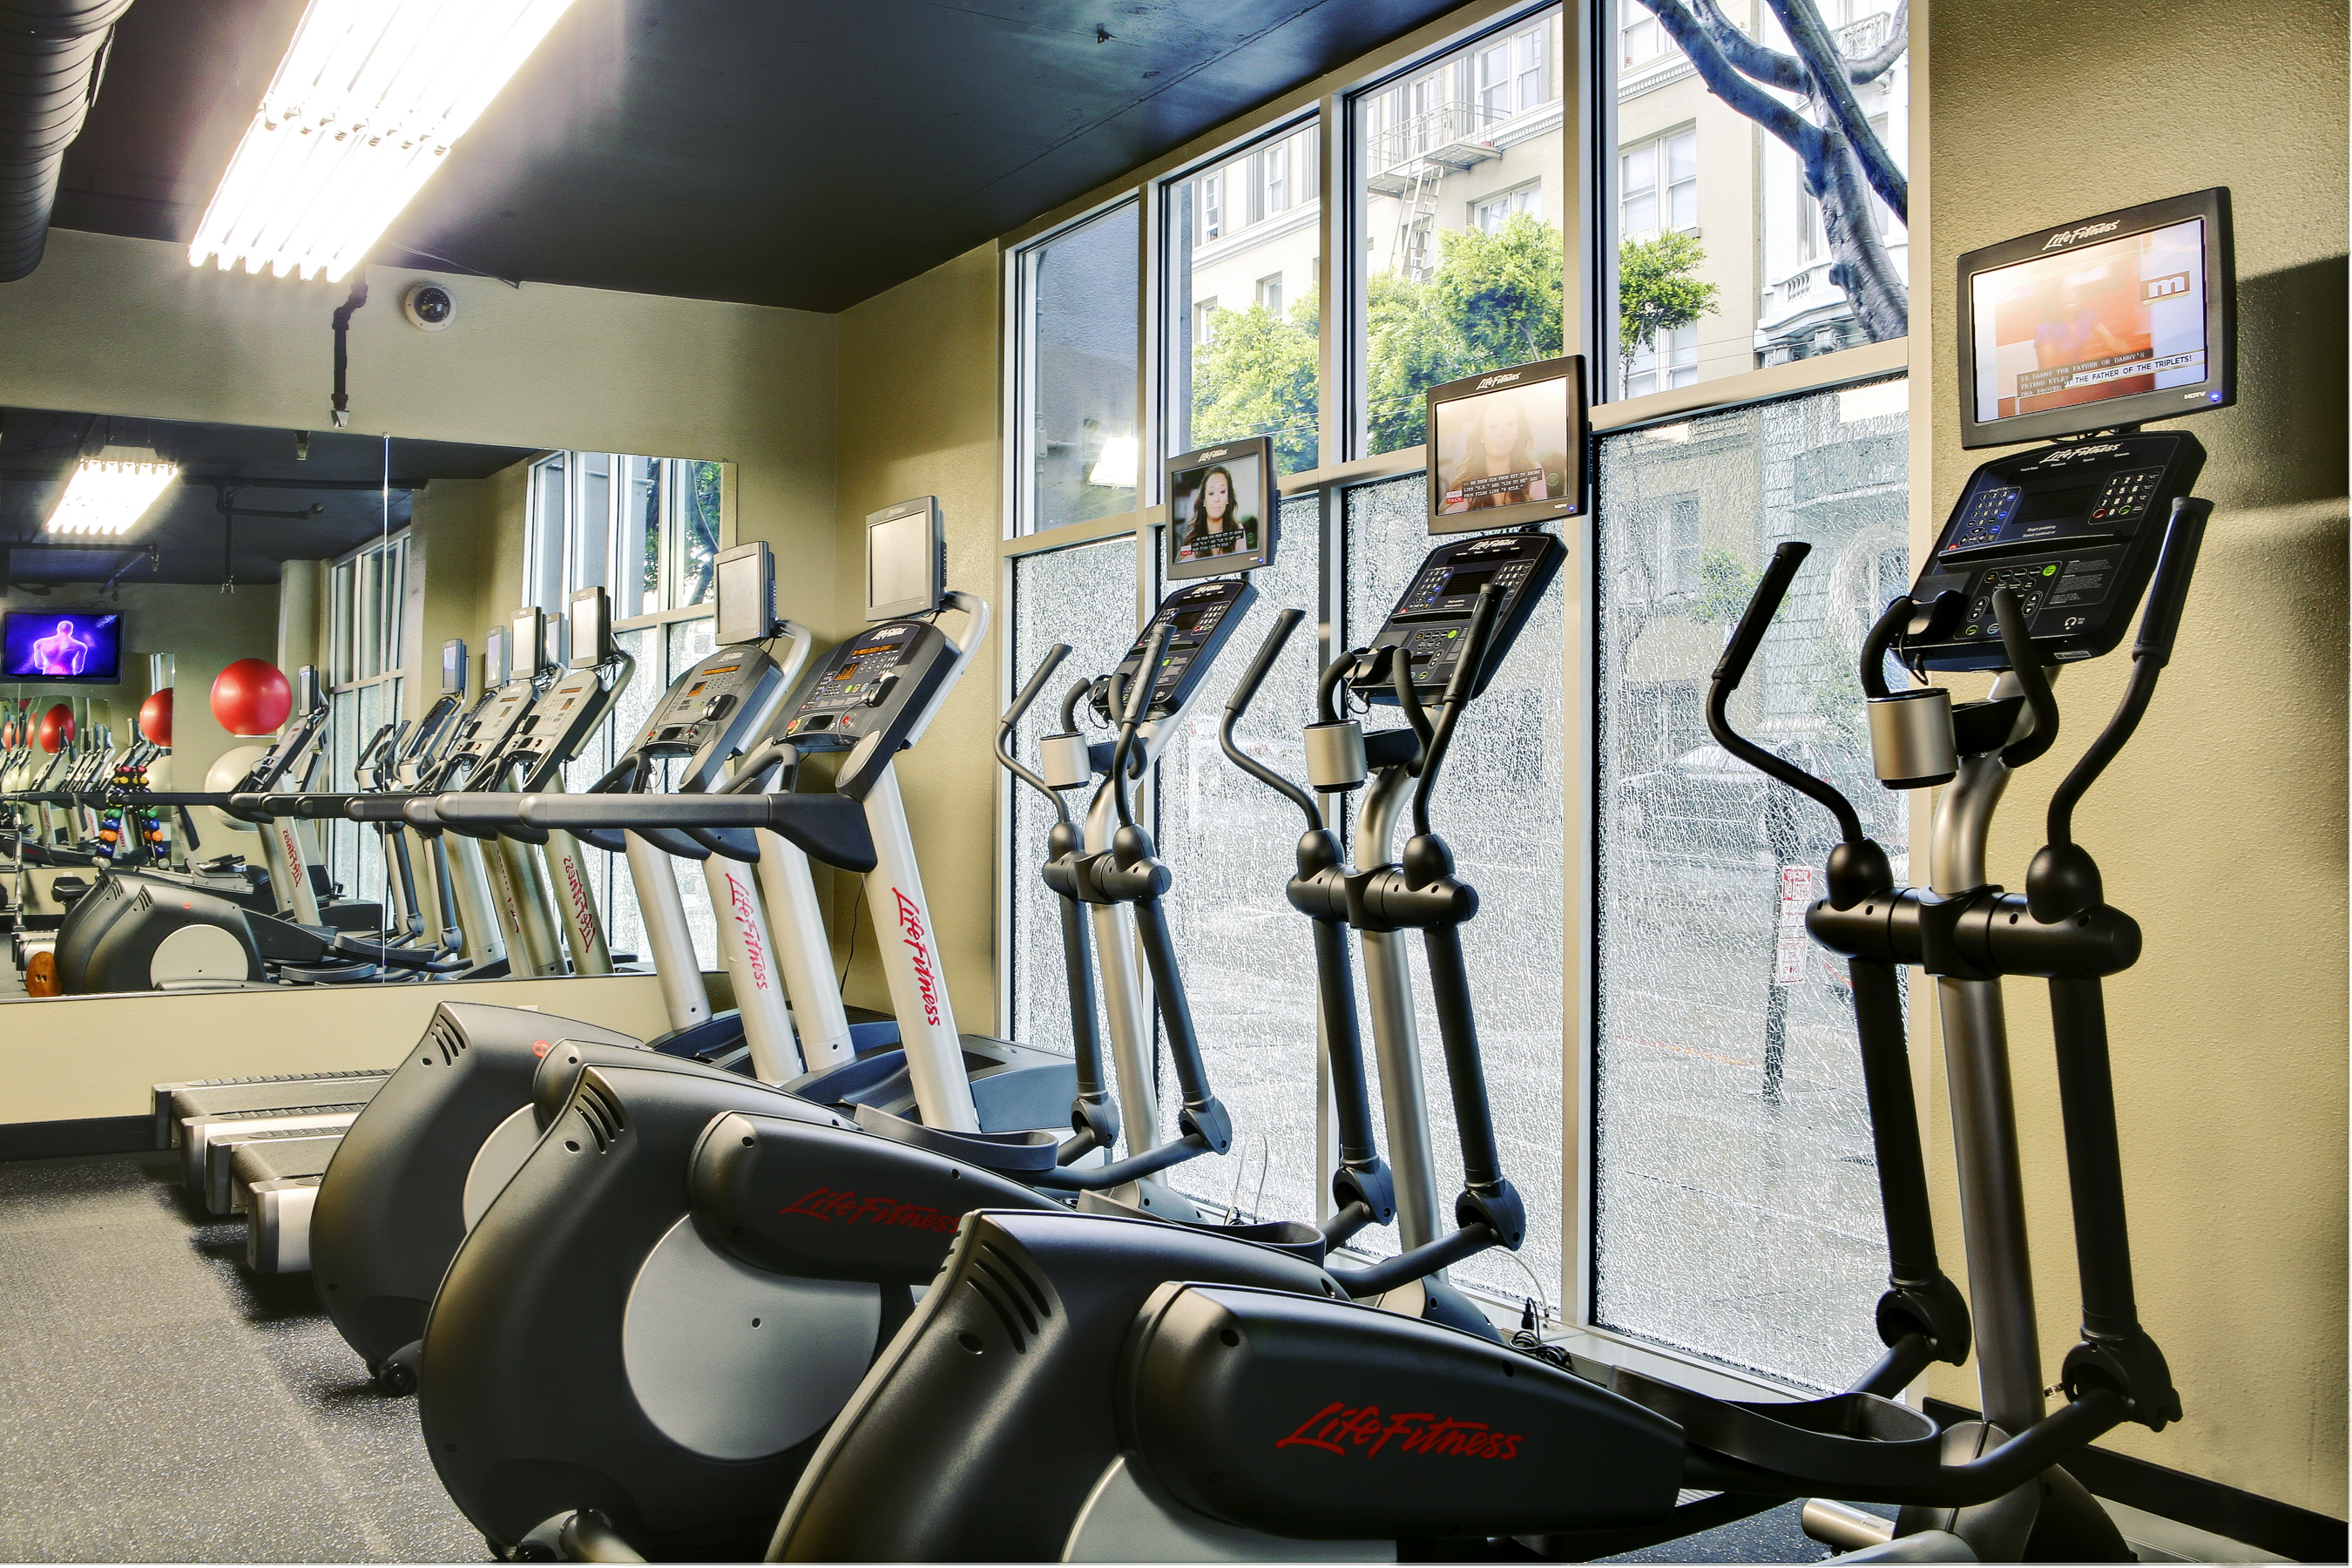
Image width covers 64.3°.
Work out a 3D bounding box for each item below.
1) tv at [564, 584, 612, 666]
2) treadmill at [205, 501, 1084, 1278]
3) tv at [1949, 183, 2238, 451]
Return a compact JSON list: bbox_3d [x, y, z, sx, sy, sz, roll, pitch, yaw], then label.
[{"bbox_3d":[-2.289,-0.609,7.279,0.120,0.360,0.362,0,-2,-36],"label":"tv"},{"bbox_3d":[-1.272,0.266,5.710,1.996,2.451,2.548,0,2,-37],"label":"treadmill"},{"bbox_3d":[1.944,-0.967,3.930,0.714,0.672,0.096,-3,-5,43],"label":"tv"}]
